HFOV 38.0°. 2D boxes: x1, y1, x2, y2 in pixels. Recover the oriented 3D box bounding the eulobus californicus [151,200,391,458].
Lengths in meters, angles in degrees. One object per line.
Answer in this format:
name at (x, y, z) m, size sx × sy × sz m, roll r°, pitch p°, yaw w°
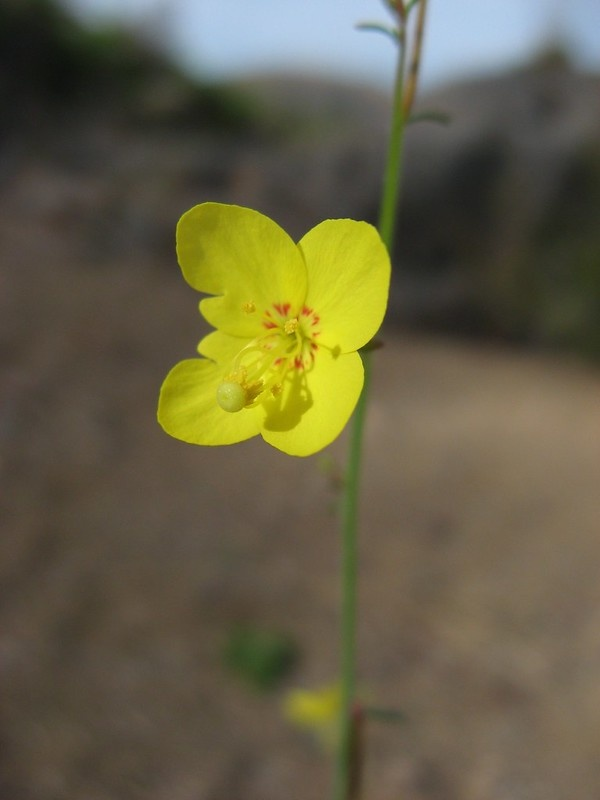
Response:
eulobus californicus at (-0.024, -0.049, 0.607) m, size 0.151 × 0.133 × 0.147 m, roll 13°, pitch 65°, yaw 2°
